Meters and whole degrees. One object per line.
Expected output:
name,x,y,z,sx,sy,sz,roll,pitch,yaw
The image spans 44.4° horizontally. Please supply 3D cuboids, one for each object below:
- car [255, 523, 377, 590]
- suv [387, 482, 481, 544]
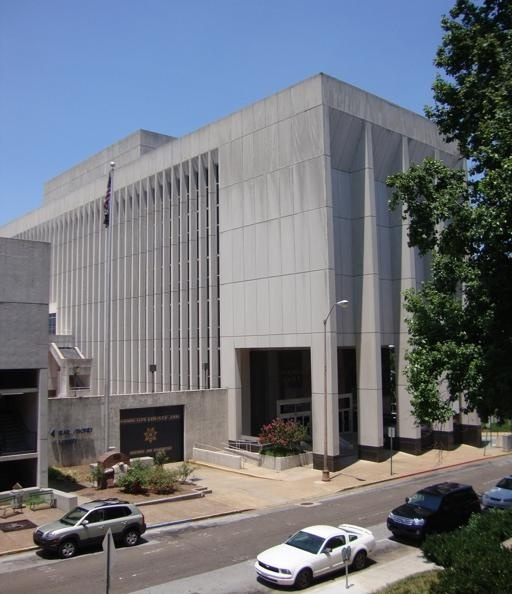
car,1.626,6.732,16.639,2.844,0.983,1.313,8,-11,-38
suv,5.844,7.005,20.650,3.082,1.340,1.513,11,-20,-40
